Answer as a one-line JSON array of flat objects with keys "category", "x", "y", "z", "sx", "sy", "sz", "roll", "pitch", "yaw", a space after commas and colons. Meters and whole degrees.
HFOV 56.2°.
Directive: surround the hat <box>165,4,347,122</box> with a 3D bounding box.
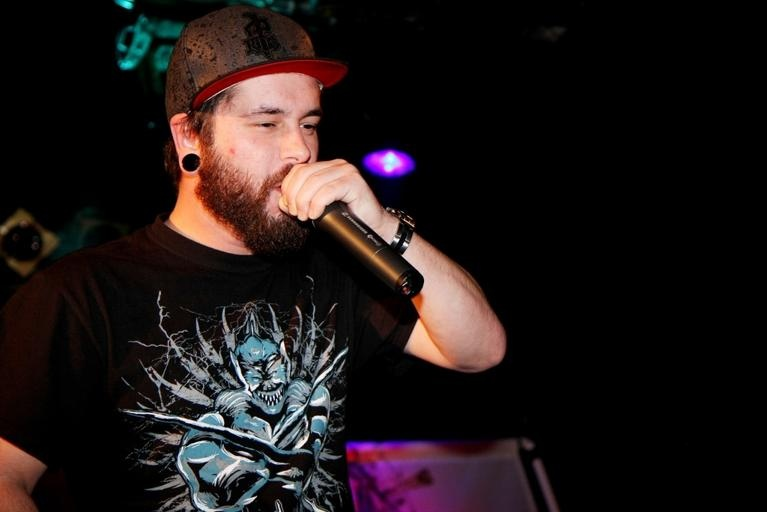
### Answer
[{"category": "hat", "x": -0.693, "y": -0.971, "z": 3.642, "sx": 0.728, "sy": 0.393, "sz": 0.541, "roll": -21, "pitch": 0, "yaw": 34}]
